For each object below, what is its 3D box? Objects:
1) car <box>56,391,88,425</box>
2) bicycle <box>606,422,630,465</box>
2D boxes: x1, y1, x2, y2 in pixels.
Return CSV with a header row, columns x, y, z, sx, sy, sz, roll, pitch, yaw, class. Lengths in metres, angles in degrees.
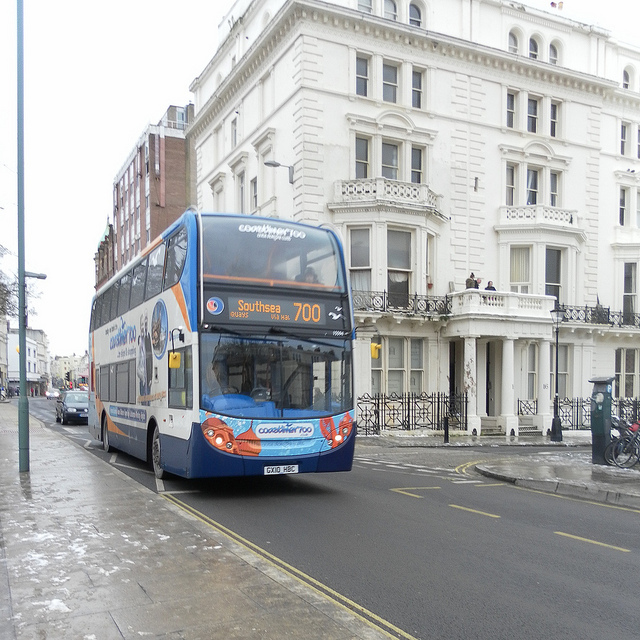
x,y,z,sx,sy,sz,roll,pitch,yaw,class
-10.240,3.539,34.380,0.884,0.999,2.017,3,-9,-25,car
6.485,2.638,18.109,0.647,0.902,0.540,-6,-23,30,bicycle
